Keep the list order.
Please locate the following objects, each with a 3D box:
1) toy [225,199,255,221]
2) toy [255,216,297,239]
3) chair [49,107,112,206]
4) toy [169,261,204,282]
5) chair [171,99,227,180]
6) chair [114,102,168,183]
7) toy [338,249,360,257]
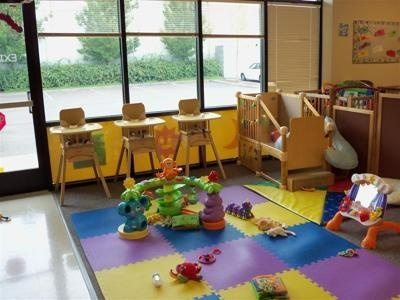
[{"bbox_3d":[0.423,0.620,3.316,0.127,0.221,0.358,-10,13,-39],"label":"toy"},{"bbox_3d":[0.712,0.749,2.959,0.227,0.057,0.158,13,19,25],"label":"toy"},{"bbox_3d":[-1.582,0.053,3.919,0.656,1.061,0.684,-4,13,-17],"label":"chair"},{"bbox_3d":[-0.110,0.916,2.396,0.248,0.121,0.250,-5,16,-1],"label":"toy"},{"bbox_3d":[-0.065,-0.167,4.513,0.581,0.984,0.633,-4,14,-9],"label":"chair"},{"bbox_3d":[-0.878,-0.096,4.340,0.740,1.169,0.783,-1,17,1],"label":"chair"},{"bbox_3d":[1.255,0.873,2.569,0.082,0.027,0.085,-6,11,-20],"label":"toy"}]
